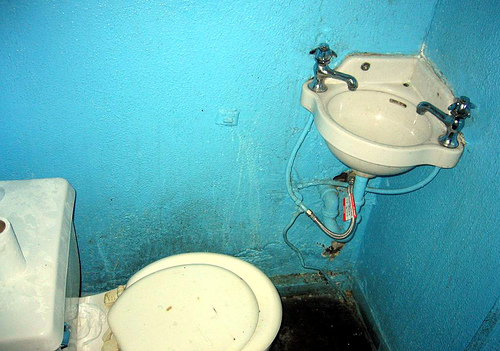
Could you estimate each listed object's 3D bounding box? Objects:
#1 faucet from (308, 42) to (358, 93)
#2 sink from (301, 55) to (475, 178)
[{"bbox_3d":[0.300,-0.367,1.476,0.206,0.156,0.084,26,46,29],"label":"faucet"},{"bbox_3d":[0.467,-0.150,1.510,0.436,0.366,0.589,-14,41,-13],"label":"sink"}]
